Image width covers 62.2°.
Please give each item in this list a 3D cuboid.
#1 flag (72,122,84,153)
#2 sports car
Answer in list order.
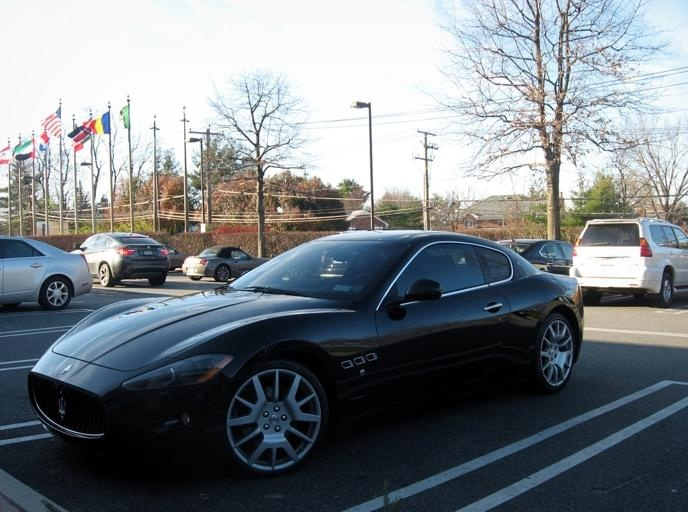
[{"bbox_3d":[-19.152,-8.465,41.230,0.815,1.848,1.793,-2,4,-25],"label":"flag"},{"bbox_3d":[-0.025,0.737,5.212,4.605,1.278,2.069,-1,-2,-37],"label":"sports car"}]
